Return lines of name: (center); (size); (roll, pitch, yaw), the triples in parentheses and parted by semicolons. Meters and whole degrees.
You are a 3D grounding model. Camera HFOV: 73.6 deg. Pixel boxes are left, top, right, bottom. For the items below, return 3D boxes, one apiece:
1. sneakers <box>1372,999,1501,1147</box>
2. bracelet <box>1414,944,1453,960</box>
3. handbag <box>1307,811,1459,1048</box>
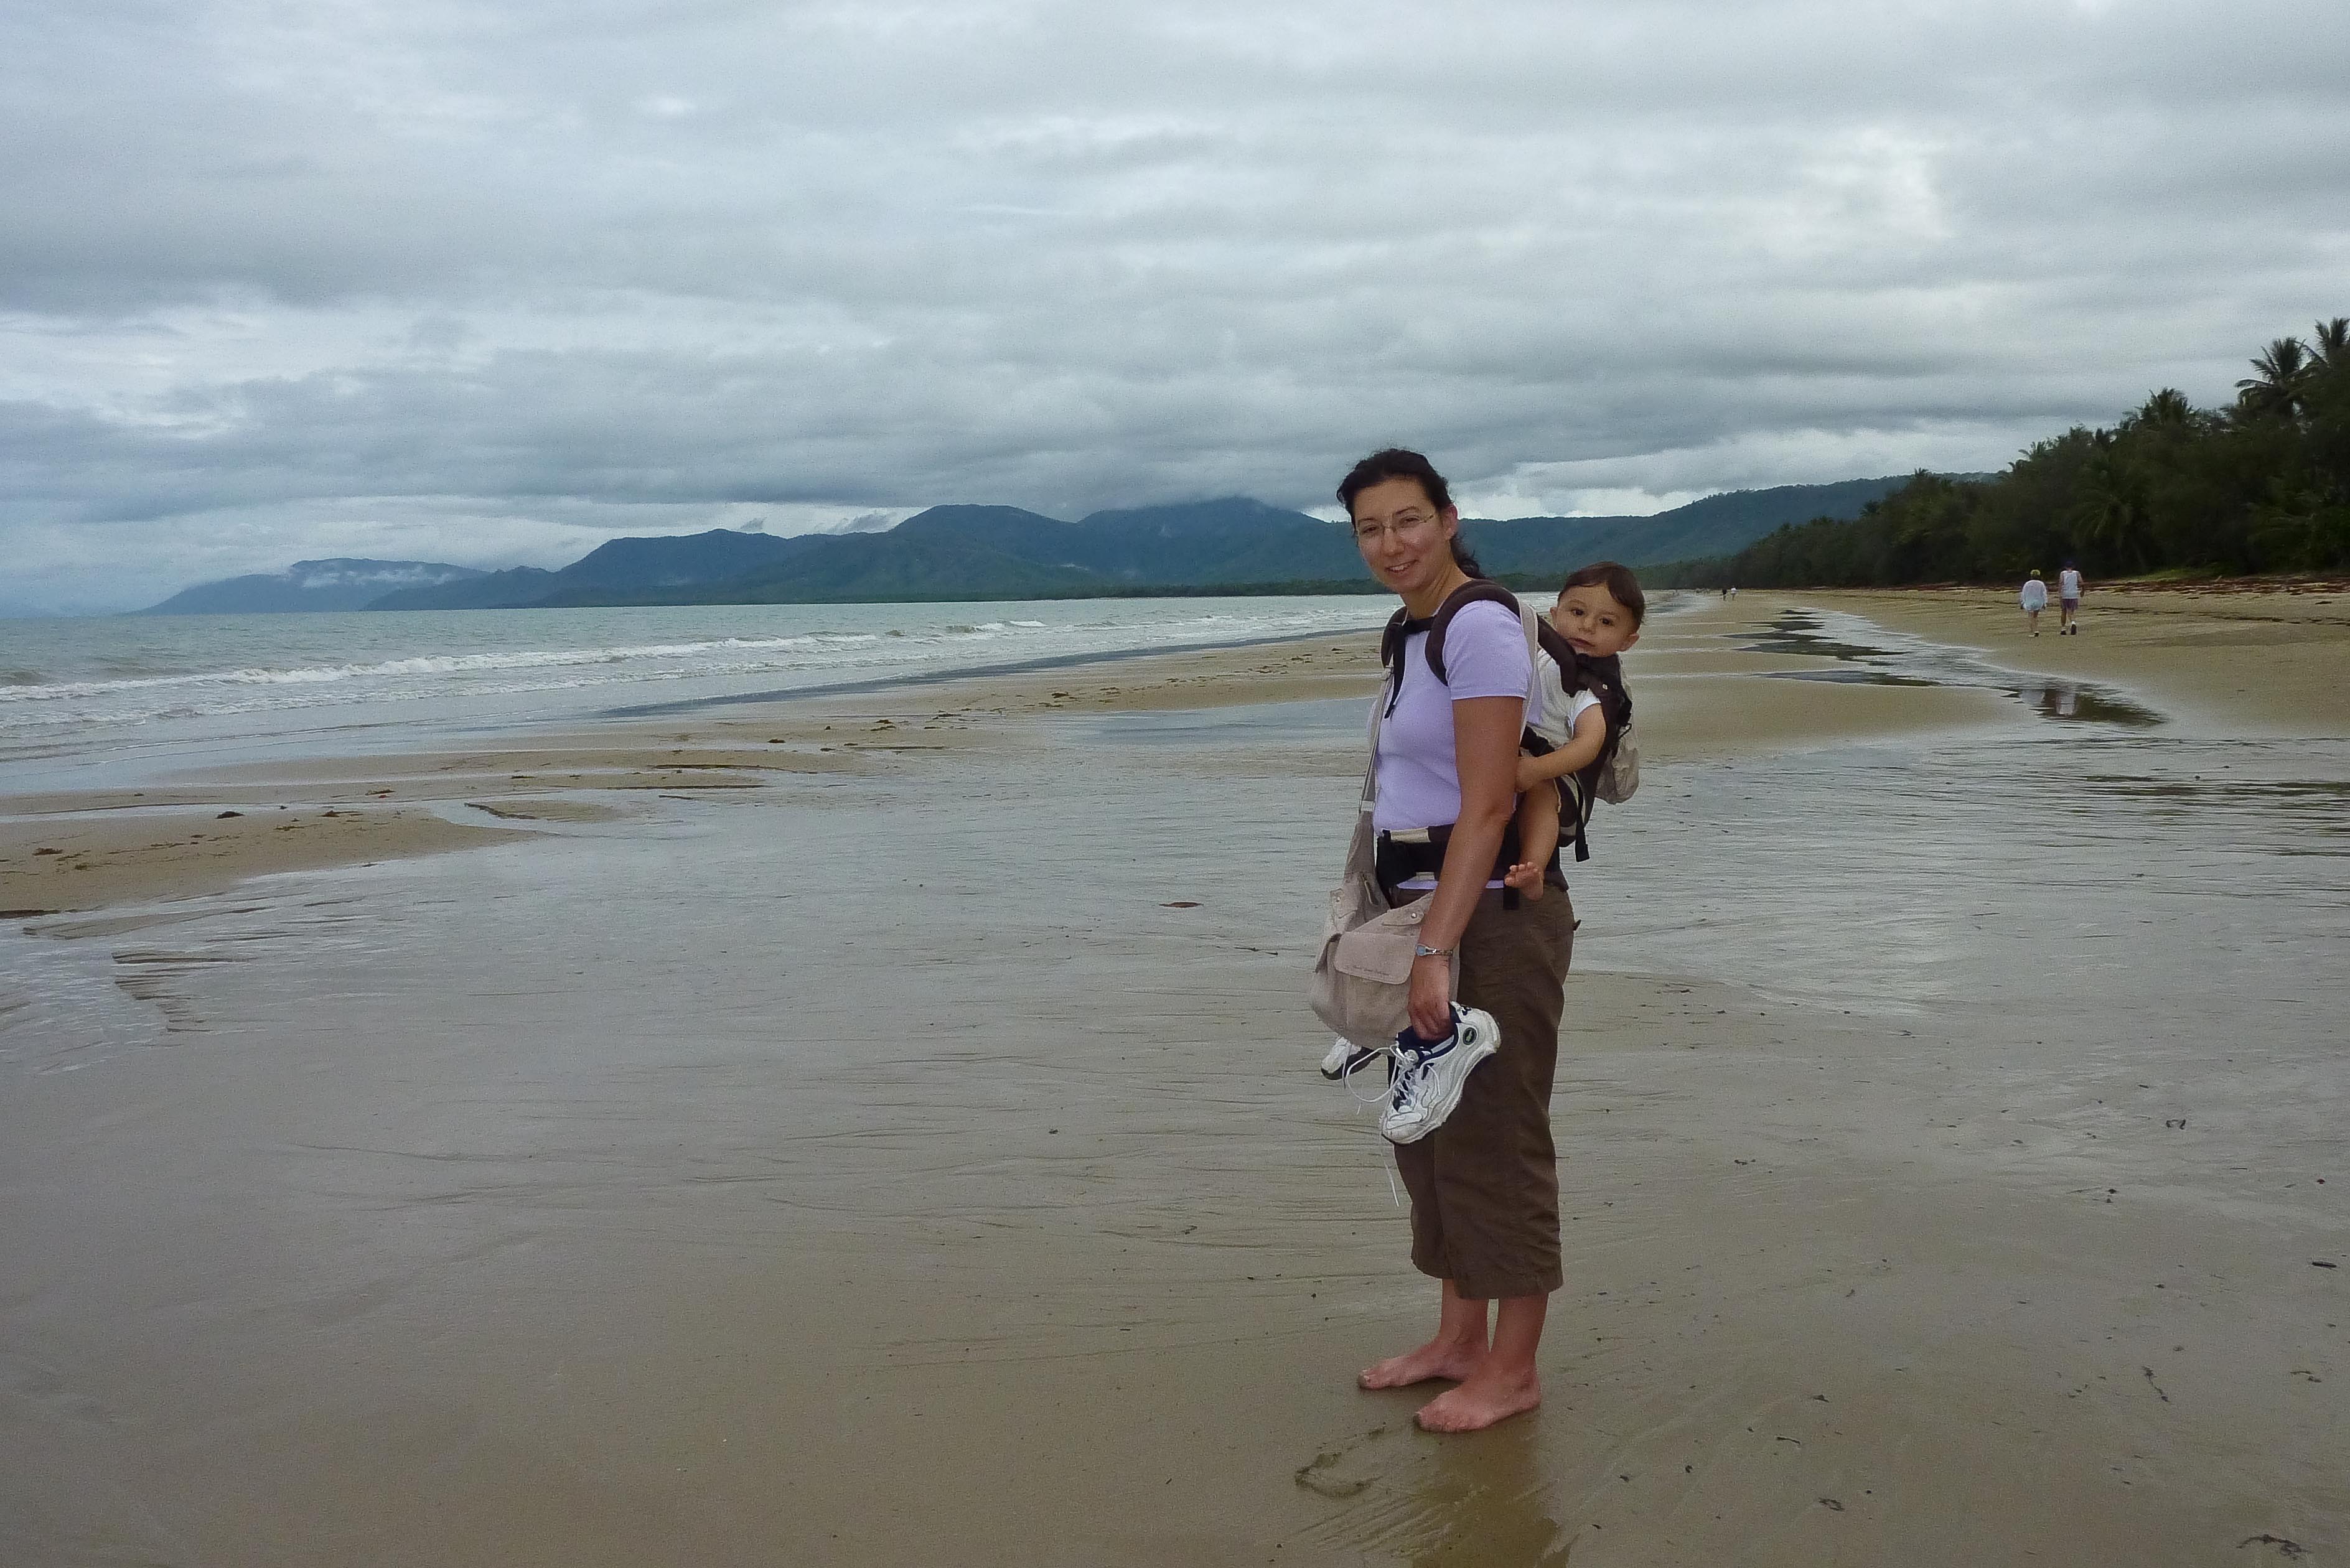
sneakers: (0.768, 0.892, 4.861); (0.483, 0.264, 0.190); (-52, 25, -17)
bracelet: (0.784, 0.513, 4.768); (0.065, 0.019, 0.046); (13, -16, 8)
handbag: (0.612, 0.490, 4.999); (0.333, 0.716, 0.471); (-6, 11, -19)
